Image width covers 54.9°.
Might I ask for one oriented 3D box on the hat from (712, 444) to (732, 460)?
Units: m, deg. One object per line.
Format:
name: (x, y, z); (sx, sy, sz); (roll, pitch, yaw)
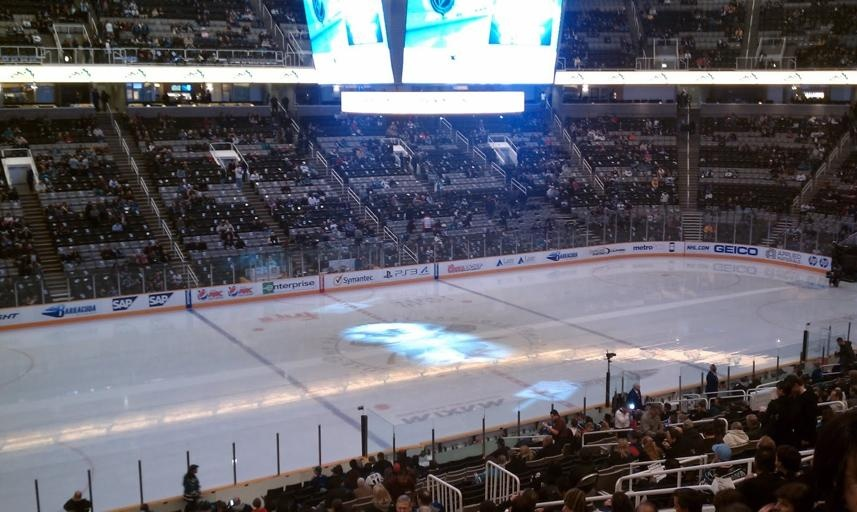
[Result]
hat: (9.022, 5.964, 25.147); (0.572, 0.490, 0.534); (-6, 15, -3)
